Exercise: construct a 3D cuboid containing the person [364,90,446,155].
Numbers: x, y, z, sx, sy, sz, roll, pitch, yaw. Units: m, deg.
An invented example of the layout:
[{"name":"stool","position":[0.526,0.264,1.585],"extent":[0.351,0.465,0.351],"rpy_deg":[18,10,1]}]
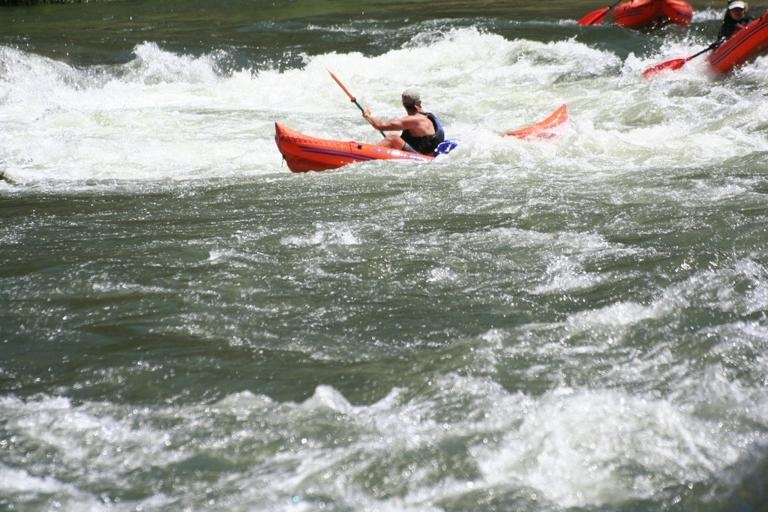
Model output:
[{"name":"person","position":[0.272,-2.024,12.324],"extent":[1.255,0.906,0.842],"rpy_deg":[12,30,24]}]
